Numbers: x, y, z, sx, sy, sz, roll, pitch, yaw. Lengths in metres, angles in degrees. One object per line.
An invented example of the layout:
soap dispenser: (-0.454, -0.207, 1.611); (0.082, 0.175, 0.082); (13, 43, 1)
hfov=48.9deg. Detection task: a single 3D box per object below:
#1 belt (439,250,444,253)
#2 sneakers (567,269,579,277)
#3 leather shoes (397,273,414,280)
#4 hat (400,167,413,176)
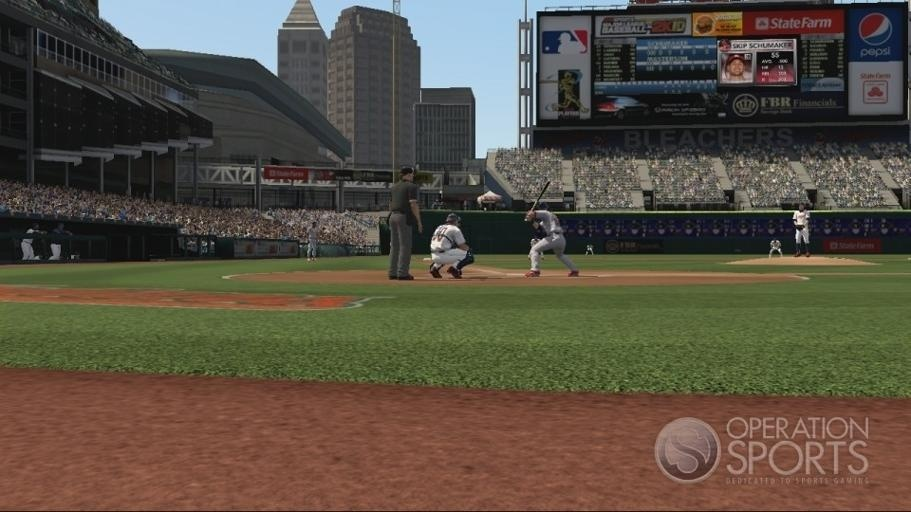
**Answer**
belt: (-0.587, -0.188, 43.405); (0.229, 0.121, 0.035); (2, 10, 12)
sneakers: (5.317, 0.806, 45.480); (0.575, 0.222, 0.243); (2, -4, 12)
leather shoes: (-2.144, 0.936, 43.265); (0.850, 0.221, 0.245); (0, 0, -6)
hat: (-2.062, -3.584, 42.798); (0.534, 0.376, 0.561); (0, 8, -3)
